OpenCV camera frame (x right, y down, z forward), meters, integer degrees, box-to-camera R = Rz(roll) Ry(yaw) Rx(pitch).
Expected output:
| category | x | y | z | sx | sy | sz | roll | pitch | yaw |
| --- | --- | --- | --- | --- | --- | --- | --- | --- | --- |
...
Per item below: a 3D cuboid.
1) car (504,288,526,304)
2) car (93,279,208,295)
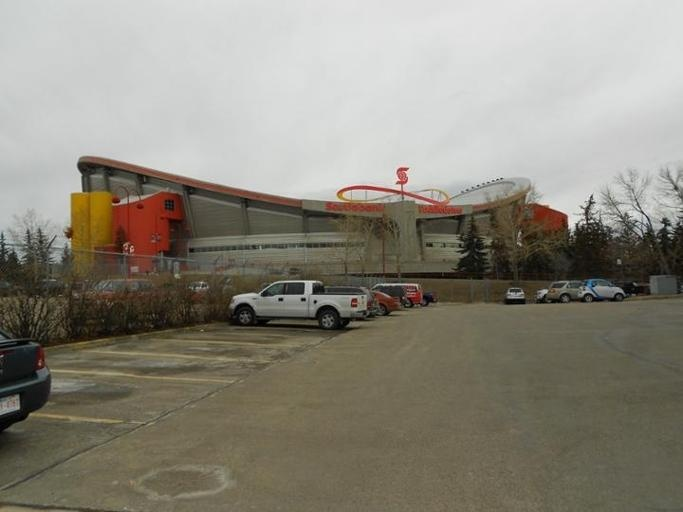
| category | x | y | z | sx | sy | sz | roll | pitch | yaw |
| --- | --- | --- | --- | --- | --- | --- | --- | --- | --- |
| car | 15.536 | 3.636 | 49.707 | 1.158 | 1.198 | 2.521 | -2 | 2 | 14 |
| car | -7.145 | 1.102 | 20.405 | 0.788 | 0.653 | 4.006 | -4 | -6 | 32 |
